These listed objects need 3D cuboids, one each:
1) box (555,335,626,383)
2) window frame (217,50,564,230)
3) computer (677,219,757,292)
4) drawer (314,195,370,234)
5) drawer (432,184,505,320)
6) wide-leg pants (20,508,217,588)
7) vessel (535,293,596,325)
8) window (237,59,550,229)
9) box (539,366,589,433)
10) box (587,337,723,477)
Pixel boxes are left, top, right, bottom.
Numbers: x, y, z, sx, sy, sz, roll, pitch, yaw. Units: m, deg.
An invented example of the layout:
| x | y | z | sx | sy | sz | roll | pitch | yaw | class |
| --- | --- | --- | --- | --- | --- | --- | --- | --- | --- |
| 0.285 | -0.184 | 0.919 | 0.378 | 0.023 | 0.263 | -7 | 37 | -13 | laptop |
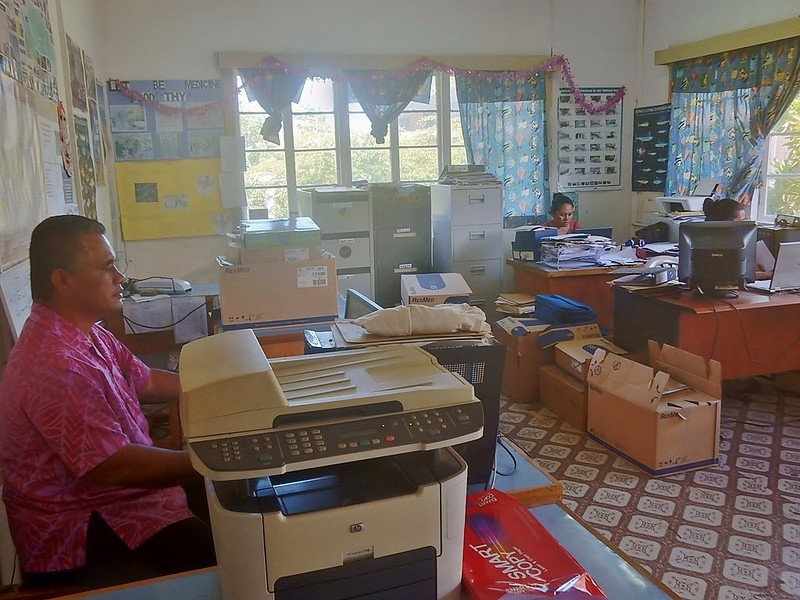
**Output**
| x | y | z | sx | sy | sz | roll | pitch | yaw | class |
| --- | --- | --- | --- | --- | --- | --- | --- | --- | --- |
| 1.245 | 0.383 | 3.864 | 0.294 | 0.115 | 0.288 | -4 | 15 | -20 | box |
| 0.068 | -1.543 | 5.859 | 3.170 | 1.743 | 0.966 | -3 | 14 | -2 | window frame |
| 1.960 | -0.265 | 3.567 | 0.427 | 0.433 | 0.224 | 2 | 19 | 27 | computer |
| -0.544 | -0.769 | 5.301 | 0.571 | 0.375 | 0.329 | -3 | 9 | -18 | drawer |
| 0.658 | -0.500 | 5.653 | 0.736 | 1.294 | 0.463 | 0 | 14 | 9 | drawer |
| -0.791 | 0.674 | 1.666 | 0.319 | 0.330 | 0.117 | -16 | 10 | 23 | wide-leg pants |
| 1.203 | 0.036 | 4.109 | 0.296 | 0.107 | 0.232 | -6 | 14 | -25 | vessel |
| -0.190 | -1.601 | 5.724 | 2.182 | 1.297 | 0.092 | -2 | 14 | -8 | window |
| 1.098 | 0.655 | 3.866 | 0.300 | 0.223 | 0.427 | -3 | 17 | -23 | box |
| 1.476 | 0.605 | 3.404 | 0.505 | 0.610 | 0.660 | -2 | 8 | -10 | box |
